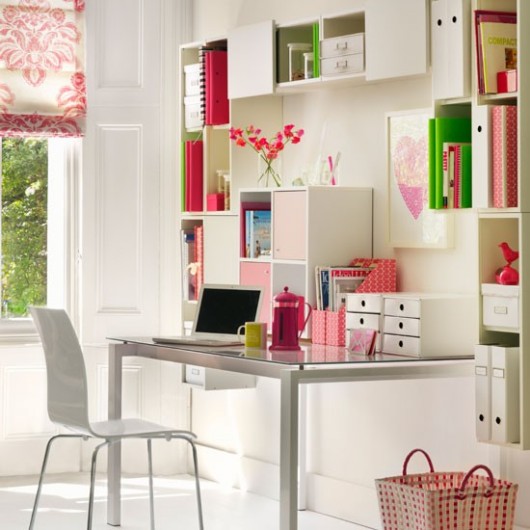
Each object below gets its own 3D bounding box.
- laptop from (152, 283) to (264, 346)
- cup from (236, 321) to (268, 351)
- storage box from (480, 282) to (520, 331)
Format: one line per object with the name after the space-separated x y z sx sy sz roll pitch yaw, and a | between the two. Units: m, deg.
-0.173 0.214 2.539 0.298 0.241 0.261 0 -5 34 | laptop
-0.048 0.267 2.230 0.105 0.119 0.076 0 -1 -10 | cup
0.725 0.128 1.863 0.102 0.124 0.104 3 -4 -36 | storage box
